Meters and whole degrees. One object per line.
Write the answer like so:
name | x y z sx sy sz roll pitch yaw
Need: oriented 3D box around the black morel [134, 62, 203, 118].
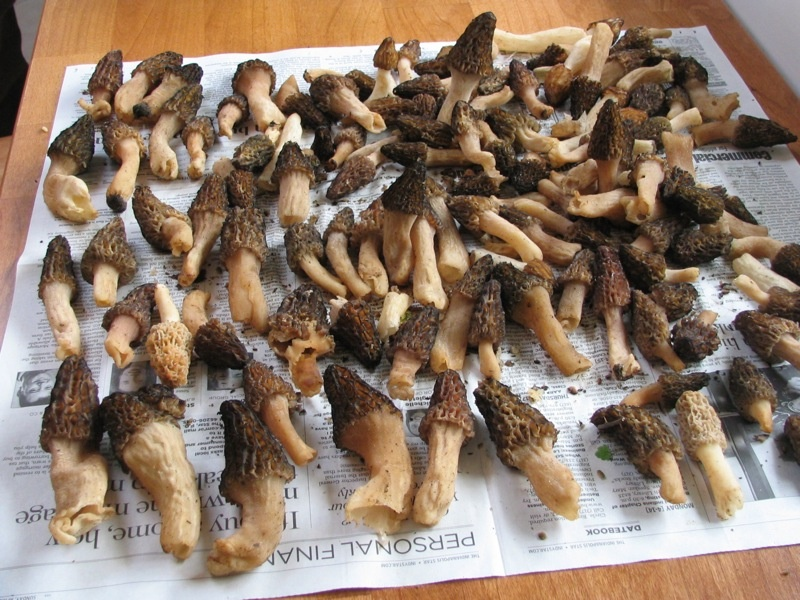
black morel | -0.981 -0.909 2.892 0.118 0.127 0.412 -9 14 21

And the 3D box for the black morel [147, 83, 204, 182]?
black morel | -0.976 -0.733 2.965 0.144 0.143 0.480 11 61 5

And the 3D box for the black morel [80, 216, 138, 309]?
black morel | -1.094 -0.154 2.546 0.182 0.185 0.402 11 45 -27

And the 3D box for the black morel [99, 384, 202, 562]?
black morel | -0.805 0.524 2.180 0.247 0.175 0.593 -12 66 -40

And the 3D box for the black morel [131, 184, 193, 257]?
black morel | -0.911 -0.311 2.614 0.167 0.142 0.323 -28 50 -26

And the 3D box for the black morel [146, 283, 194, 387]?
black morel | -0.811 0.115 2.369 0.117 0.135 0.362 -5 57 -21

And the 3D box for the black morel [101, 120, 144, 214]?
black morel | -1.149 -0.571 2.825 0.178 0.170 0.515 -9 59 -11

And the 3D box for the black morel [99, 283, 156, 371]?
black morel | -0.948 0.102 2.352 0.120 0.111 0.294 36 35 -23
